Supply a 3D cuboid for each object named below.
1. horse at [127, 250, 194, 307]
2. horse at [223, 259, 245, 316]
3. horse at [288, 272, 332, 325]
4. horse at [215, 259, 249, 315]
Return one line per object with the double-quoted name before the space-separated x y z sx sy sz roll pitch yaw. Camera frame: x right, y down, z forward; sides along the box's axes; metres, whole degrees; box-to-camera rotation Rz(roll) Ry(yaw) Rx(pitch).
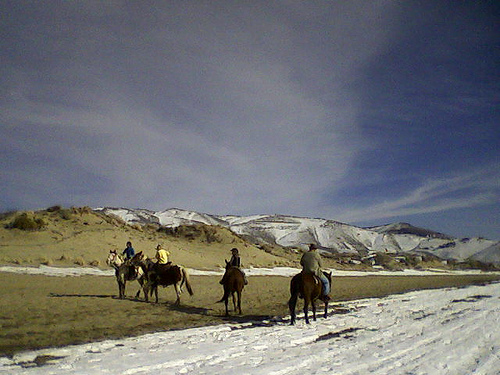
"horse" -5.211 5.208 19.832 4.129 2.670 1.055 0 -12 15
"horse" -0.825 5.101 17.774 1.073 2.558 2.214 -2 -14 -2
"horse" 2.650 4.852 15.500 1.080 2.097 2.480 -9 -15 25
"horse" -0.653 4.765 17.805 1.054 2.306 3.417 -6 1 10
